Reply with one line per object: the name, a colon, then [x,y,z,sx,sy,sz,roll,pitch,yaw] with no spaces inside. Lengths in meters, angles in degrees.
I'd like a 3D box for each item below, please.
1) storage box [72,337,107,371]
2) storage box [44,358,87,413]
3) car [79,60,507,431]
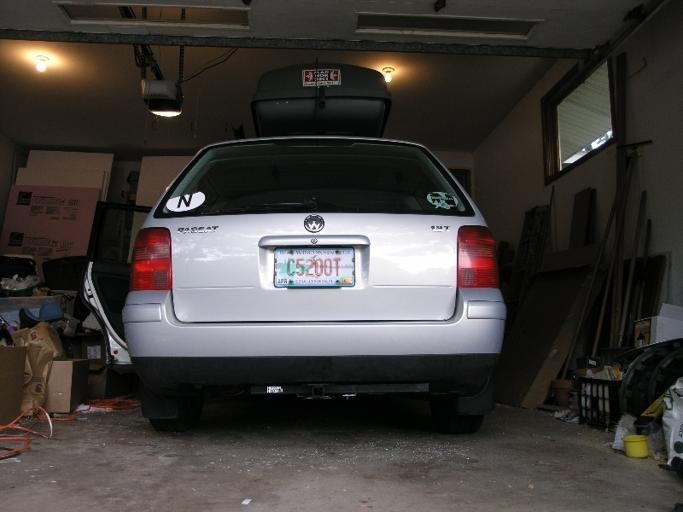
storage box: [-2.598,0.977,5.660,0.397,0.398,0.733,3,-6,-29]
storage box: [-2.335,1.089,4.771,0.330,0.397,0.612,1,-5,-5]
car: [-0.040,-0.197,3.640,2.192,2.794,1.930,2,-2,18]
